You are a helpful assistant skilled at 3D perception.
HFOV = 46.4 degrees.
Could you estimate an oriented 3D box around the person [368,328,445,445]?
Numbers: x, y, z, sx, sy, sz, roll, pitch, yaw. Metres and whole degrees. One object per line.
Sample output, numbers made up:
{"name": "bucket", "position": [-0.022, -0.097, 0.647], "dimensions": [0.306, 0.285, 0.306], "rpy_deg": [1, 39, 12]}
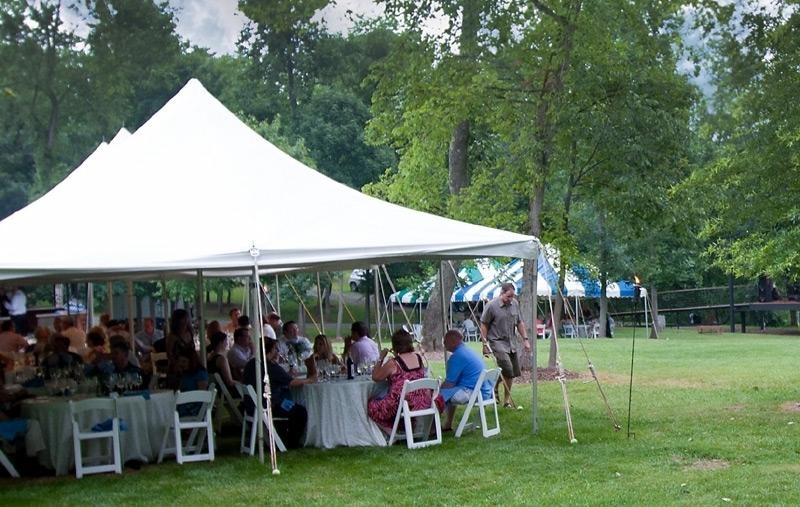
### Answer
{"name": "person", "position": [0.026, 2.378, 17.891], "dimensions": [1.250, 2.085, 1.138], "rpy_deg": [-9, 12, -37]}

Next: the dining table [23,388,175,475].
{"name": "dining table", "position": [-5.216, 2.987, 16.889], "dimensions": [1.692, 0.852, 1.764], "rpy_deg": [-1, -1, 30]}

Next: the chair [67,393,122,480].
{"name": "chair", "position": [-5.429, 3.266, 16.574], "dimensions": [0.850, 1.259, 0.784], "rpy_deg": [-2, 2, -23]}

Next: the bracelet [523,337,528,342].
{"name": "bracelet", "position": [2.619, 1.823, 19.505], "dimensions": [0.121, 0.097, 0.124], "rpy_deg": [1, 0, 37]}

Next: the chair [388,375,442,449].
{"name": "chair", "position": [0.249, 3.018, 17.776], "dimensions": [1.073, 1.702, 1.199], "rpy_deg": [2, -4, -28]}

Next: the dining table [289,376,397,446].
{"name": "dining table", "position": [-1.155, 2.940, 17.450], "dimensions": [1.353, 0.949, 1.189], "rpy_deg": [-1, -3, 5]}

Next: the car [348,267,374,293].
{"name": "car", "position": [-2.219, 1.421, 53.220], "dimensions": [1.317, 1.105, 2.056], "rpy_deg": [1, 5, -5]}
